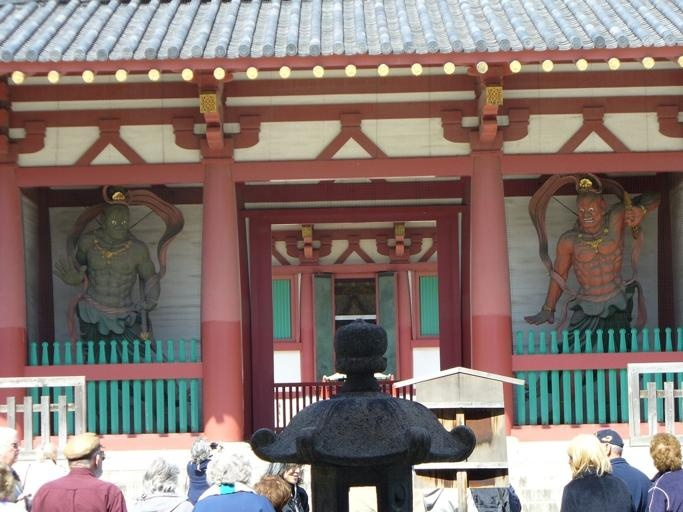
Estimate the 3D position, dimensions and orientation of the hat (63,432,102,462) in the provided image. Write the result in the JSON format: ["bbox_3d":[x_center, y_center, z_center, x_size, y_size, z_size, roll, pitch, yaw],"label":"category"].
[{"bbox_3d":[-2.512,1.799,21.322,0.339,0.272,0.171,-2,-15,-8],"label":"hat"}]

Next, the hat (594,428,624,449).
[{"bbox_3d":[2.602,1.774,21.945,0.247,0.212,0.285,-5,-14,5],"label":"hat"}]
